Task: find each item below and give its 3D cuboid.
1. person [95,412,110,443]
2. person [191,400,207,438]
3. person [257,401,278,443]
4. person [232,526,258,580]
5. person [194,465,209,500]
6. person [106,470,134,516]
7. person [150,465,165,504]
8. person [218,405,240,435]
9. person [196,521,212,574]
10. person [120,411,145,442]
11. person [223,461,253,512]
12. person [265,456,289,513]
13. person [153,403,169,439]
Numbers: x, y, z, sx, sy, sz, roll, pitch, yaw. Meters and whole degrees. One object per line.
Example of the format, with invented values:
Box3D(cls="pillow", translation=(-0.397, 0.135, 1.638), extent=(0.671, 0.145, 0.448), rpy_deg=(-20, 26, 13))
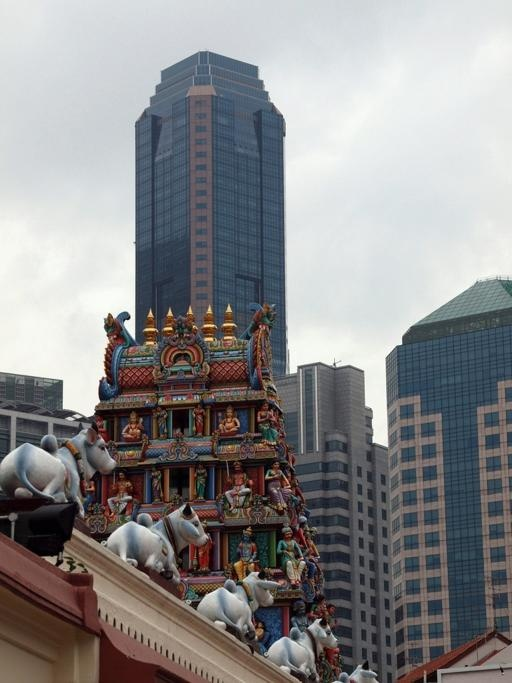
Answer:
Box3D(cls="person", translation=(-5.451, 3.142, 72.956), extent=(0.564, 0.975, 2.579), rpy_deg=(2, -2, -5))
Box3D(cls="person", translation=(-1.947, 2.792, 72.033), extent=(0.487, 1.122, 0.719), rpy_deg=(2, -2, -6))
Box3D(cls="person", translation=(0.443, 2.909, 71.396), extent=(0.744, 1.351, 1.436), rpy_deg=(2, -2, 0))
Box3D(cls="person", translation=(-0.328, 7.085, 68.467), extent=(0.777, 1.674, 1.856), rpy_deg=(2, -2, -1))
Box3D(cls="person", translation=(-1.837, 4.889, 70.575), extent=(0.431, 1.130, 0.615), rpy_deg=(2, -2, -2))
Box3D(cls="person", translation=(-4.633, 5.347, 70.891), extent=(0.869, 1.886, 0.663), rpy_deg=(-4, -21, 15))
Box3D(cls="person", translation=(-3.376, 4.991, 70.847), extent=(0.419, 1.159, 0.446), rpy_deg=(2, -1, -3))
Box3D(cls="person", translation=(-0.886, 2.830, 71.739), extent=(0.731, 1.034, 0.784), rpy_deg=(2, -2, 5))
Box3D(cls="person", translation=(-1.676, 7.058, 68.432), extent=(0.469, 1.231, 1.375), rpy_deg=(2, -2, -1))
Box3D(cls="person", translation=(-4.327, 3.080, 72.715), extent=(0.757, 1.085, 0.837), rpy_deg=(2, -2, -5))
Box3D(cls="person", translation=(-0.537, 5.046, 70.083), extent=(1.116, 2.084, 0.627), rpy_deg=(-9, -47, 7))
Box3D(cls="person", translation=(0.719, 5.022, 69.917), extent=(0.761, 1.704, 1.213), rpy_deg=(2, -2, 1))
Box3D(cls="person", translation=(-3.285, 2.935, 72.490), extent=(0.393, 1.098, 0.720), rpy_deg=(2, -2, -24))
